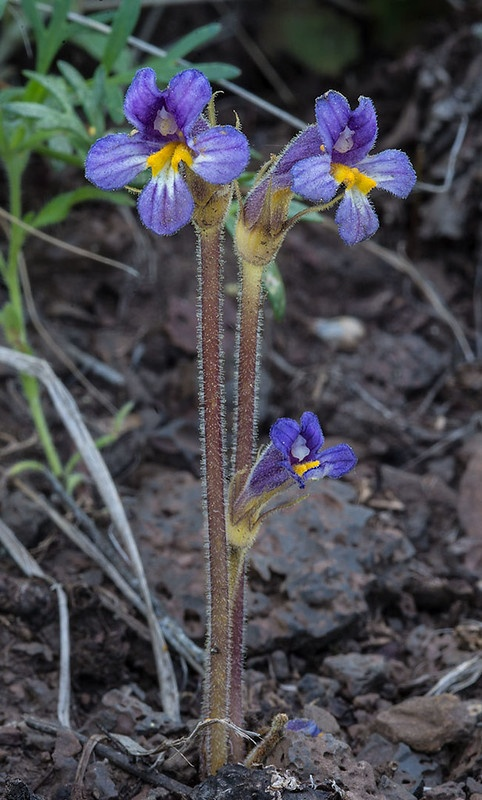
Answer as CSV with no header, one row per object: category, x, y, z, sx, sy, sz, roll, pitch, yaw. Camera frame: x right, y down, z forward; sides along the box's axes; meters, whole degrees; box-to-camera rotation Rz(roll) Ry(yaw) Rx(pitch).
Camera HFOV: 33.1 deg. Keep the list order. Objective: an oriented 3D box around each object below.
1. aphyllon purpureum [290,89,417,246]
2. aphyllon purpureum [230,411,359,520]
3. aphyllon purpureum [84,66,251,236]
aphyllon purpureum,0.216,-0.497,1.719,0.138,0.304,0.340,-4,-6,44
aphyllon purpureum,0.150,0.187,2.113,0.180,0.170,0.316,-13,-18,-16
aphyllon purpureum,-0.149,-0.502,1.624,0.357,0.324,0.081,-2,-5,25
